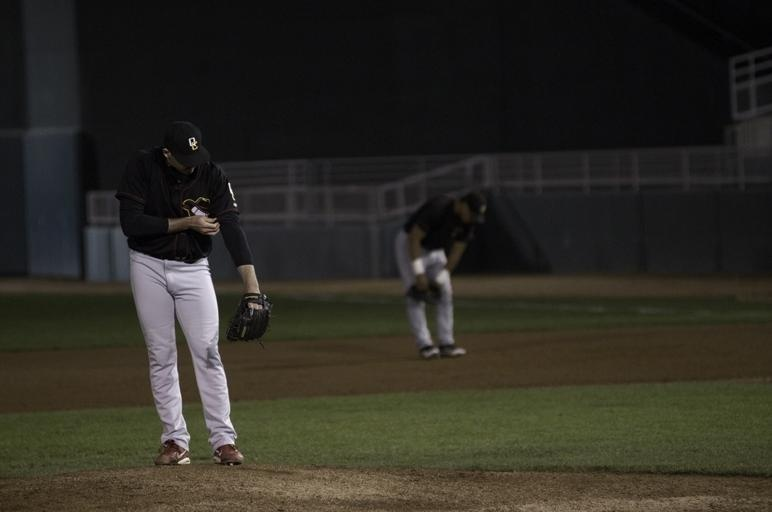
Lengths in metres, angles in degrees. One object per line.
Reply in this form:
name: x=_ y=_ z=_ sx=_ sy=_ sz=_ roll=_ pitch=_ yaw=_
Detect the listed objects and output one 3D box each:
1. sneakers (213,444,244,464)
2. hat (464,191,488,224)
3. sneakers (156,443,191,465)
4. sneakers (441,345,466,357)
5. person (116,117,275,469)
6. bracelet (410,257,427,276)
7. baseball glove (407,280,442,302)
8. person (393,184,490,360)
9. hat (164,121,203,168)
sneakers: x=-1.675 y=2.149 z=14.530 sx=0.176 sy=0.126 sz=0.330 roll=1 pitch=-10 yaw=-31
hat: x=1.091 y=-0.570 z=15.956 sx=0.215 sy=0.367 sz=0.358 roll=10 pitch=17 yaw=35
sneakers: x=-2.277 y=2.150 z=14.580 sx=0.203 sy=0.170 sz=0.378 roll=-1 pitch=-9 yaw=7
sneakers: x=0.820 y=1.139 z=16.292 sx=0.293 sy=0.119 sz=0.144 roll=-5 pitch=20 yaw=8
person: x=-2.089 y=0.453 z=14.533 sx=1.433 sy=3.689 sz=1.048 roll=-3 pitch=15 yaw=-10
bracelet: x=0.385 y=0.122 z=15.938 sx=0.153 sy=0.219 sz=0.243 roll=0 pitch=13 yaw=0
baseball glove: x=0.455 y=0.455 z=15.986 sx=0.390 sy=0.265 sz=0.199 roll=-9 pitch=16 yaw=-33
person: x=0.621 y=0.261 z=16.076 sx=0.995 sy=2.039 sz=0.513 roll=0 pitch=15 yaw=1
hat: x=-2.126 y=-1.172 z=14.431 sx=0.458 sy=0.468 sz=0.227 roll=-2 pitch=14 yaw=-6
